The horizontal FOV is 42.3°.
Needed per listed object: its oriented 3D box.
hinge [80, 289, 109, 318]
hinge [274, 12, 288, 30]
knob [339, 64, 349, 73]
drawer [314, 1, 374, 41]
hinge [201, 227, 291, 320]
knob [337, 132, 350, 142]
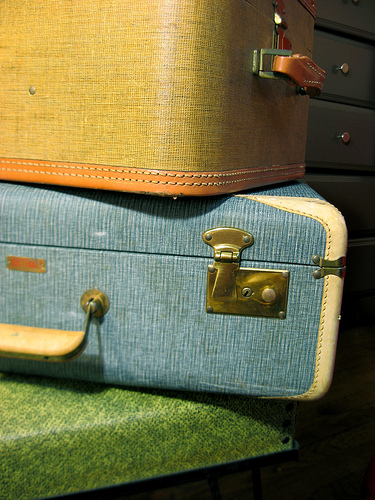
[{"bbox_3d":[-0.110,0.064,0.587,0.042,0.035,0.019,0,1,3],"label":"hinge"},{"bbox_3d":[0.134,-0.325,0.694,0.006,0.020,0.022,-17,-17,35],"label":"hinge"},{"bbox_3d":[0.442,-0.511,1.371,0.026,0.005,0.021,-9,-14,39],"label":"knob"},{"bbox_3d":[0.428,-0.645,1.389,0.145,0.077,0.192,13,12,41],"label":"drawer"},{"bbox_3d":[0.070,0.023,0.559,0.122,0.107,0.016,3,13,5],"label":"hinge"},{"bbox_3d":[0.439,-0.319,1.367,0.021,0.021,0.025,-5,3,-18],"label":"knob"}]
